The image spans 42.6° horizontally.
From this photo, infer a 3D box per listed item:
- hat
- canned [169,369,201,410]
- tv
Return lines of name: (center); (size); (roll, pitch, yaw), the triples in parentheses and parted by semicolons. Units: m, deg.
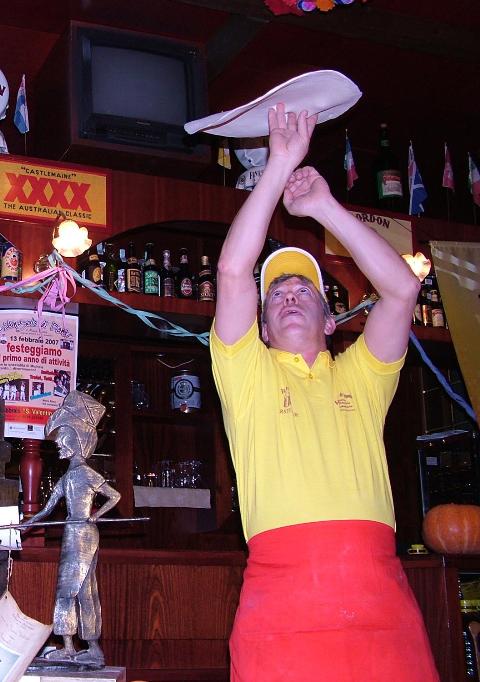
hat: (0.109, -0.158, 1.437); (0.180, 0.137, 0.298); (1, 9, 6)
canned: (-0.296, 0.271, 3.346); (0.172, 0.204, 0.184); (-14, -19, 43)
tv: (-0.635, -1.109, 3.259); (0.811, 0.780, 0.745); (8, -20, -20)
